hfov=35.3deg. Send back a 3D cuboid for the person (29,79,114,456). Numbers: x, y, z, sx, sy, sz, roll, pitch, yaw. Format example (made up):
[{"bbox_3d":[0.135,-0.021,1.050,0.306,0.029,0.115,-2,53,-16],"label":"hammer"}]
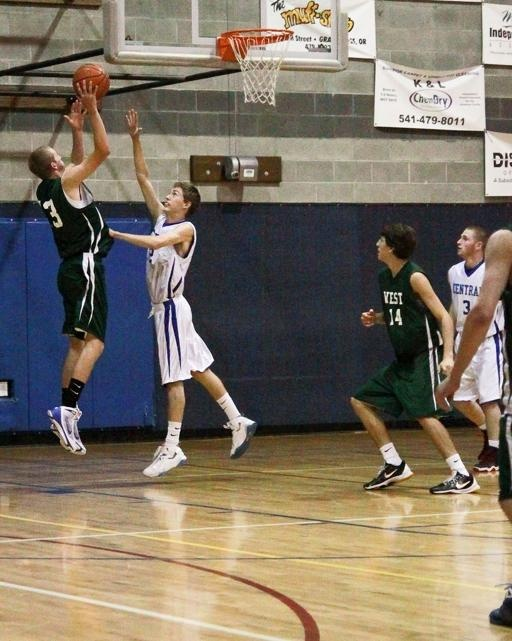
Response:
[{"bbox_3d":[-1.031,-0.286,4.668,0.460,2.013,0.618,-6,8,-11],"label":"person"}]

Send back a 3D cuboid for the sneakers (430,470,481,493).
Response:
[{"bbox_3d":[1.133,0.908,4.588,0.313,0.144,0.111,-2,-7,-11],"label":"sneakers"}]

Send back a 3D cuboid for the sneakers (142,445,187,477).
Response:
[{"bbox_3d":[-0.593,0.899,5.142,0.270,0.255,0.205,-5,9,-9],"label":"sneakers"}]

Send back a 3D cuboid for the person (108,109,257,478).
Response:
[{"bbox_3d":[-0.480,-0.115,5.095,0.718,2.491,1.006,-4,8,-2],"label":"person"}]
